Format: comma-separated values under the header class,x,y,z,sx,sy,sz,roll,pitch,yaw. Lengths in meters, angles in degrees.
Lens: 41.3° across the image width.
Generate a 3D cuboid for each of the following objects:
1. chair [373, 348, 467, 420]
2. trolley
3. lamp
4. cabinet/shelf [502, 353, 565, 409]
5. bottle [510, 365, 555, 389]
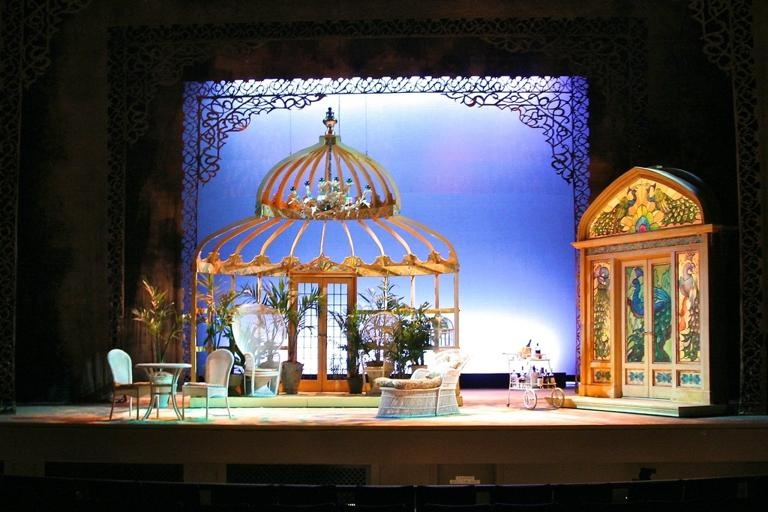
class,x,y,z,sx,sy,sz,roll,pitch,yaw
chair,0.639,2.204,17.413,1.551,1.085,0.990,4,-6,-36
trolley,2.619,2.249,18.175,0.716,0.941,1.075,0,-1,-39
lamp,-0.984,-1.752,18.564,1.669,1.769,1.650,1,16,-2
cabinet/shelf,2.793,2.229,18.130,0.556,0.824,0.909,-5,-4,6
bottle,2.662,2.208,18.135,0.441,0.295,0.819,0,-3,3
